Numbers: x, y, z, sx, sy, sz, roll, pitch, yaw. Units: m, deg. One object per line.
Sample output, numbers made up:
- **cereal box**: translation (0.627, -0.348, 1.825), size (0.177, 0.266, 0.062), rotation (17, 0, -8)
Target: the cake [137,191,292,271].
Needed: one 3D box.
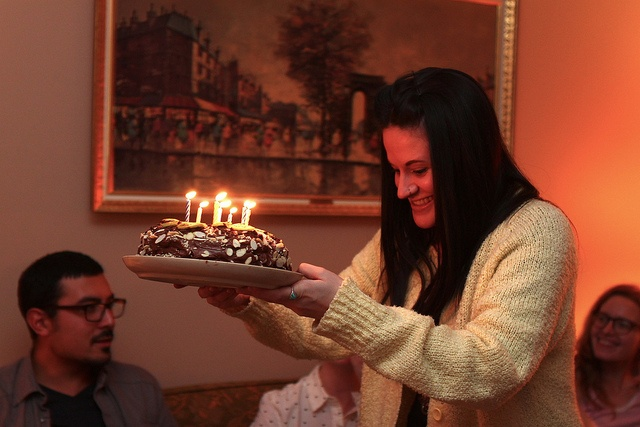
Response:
- **cake**: translation (-0.357, 0.092, 1.837), size (0.347, 0.165, 0.347), rotation (-1, -11, 23)
